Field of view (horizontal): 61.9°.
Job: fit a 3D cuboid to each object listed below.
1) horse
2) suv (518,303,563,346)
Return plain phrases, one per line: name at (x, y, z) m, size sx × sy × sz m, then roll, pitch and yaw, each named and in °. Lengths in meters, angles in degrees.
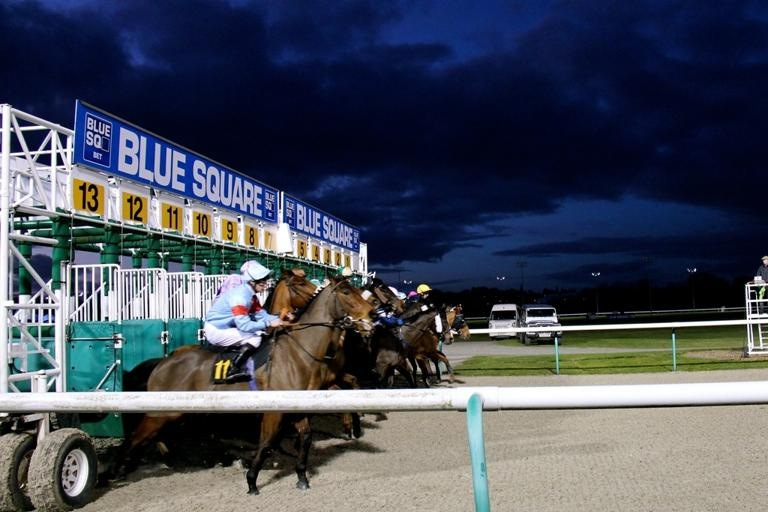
horse at (-1.513, 1.292, 7.208) m, size 2.791 × 2.525 × 2.576 m, roll -2°, pitch -7°, yaw -2°
suv at (5.622, 2.407, 23.240) m, size 1.537 × 1.381 × 2.593 m, roll 0°, pitch -14°, yaw 0°
